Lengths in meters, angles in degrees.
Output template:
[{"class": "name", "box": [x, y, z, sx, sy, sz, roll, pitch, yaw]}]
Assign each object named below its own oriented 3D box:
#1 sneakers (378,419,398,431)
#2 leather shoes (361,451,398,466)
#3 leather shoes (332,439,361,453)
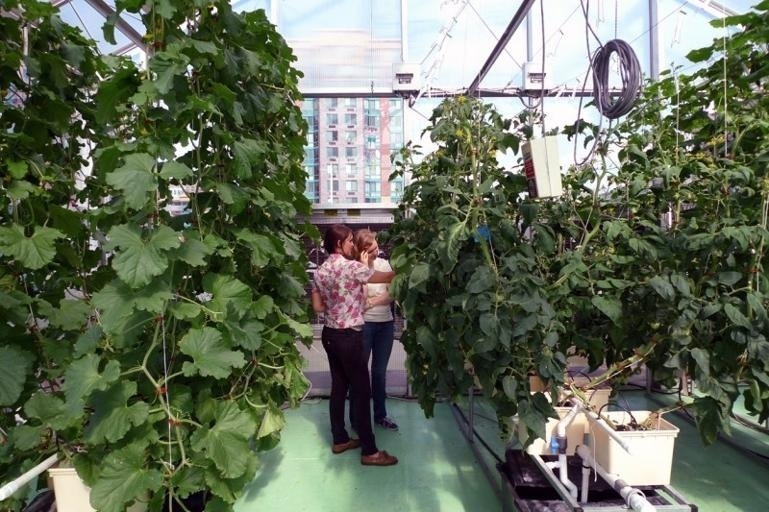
[{"class": "sneakers", "box": [0.030, 1.423, 4.376, 0.189, 0.080, 0.071, 0, 2, 36]}, {"class": "leather shoes", "box": [-0.035, 1.506, 3.852, 0.276, 0.107, 0.104, 1, -4, -2]}, {"class": "leather shoes", "box": [-0.300, 1.486, 4.059, 0.252, 0.104, 0.090, -4, 4, -30]}]
